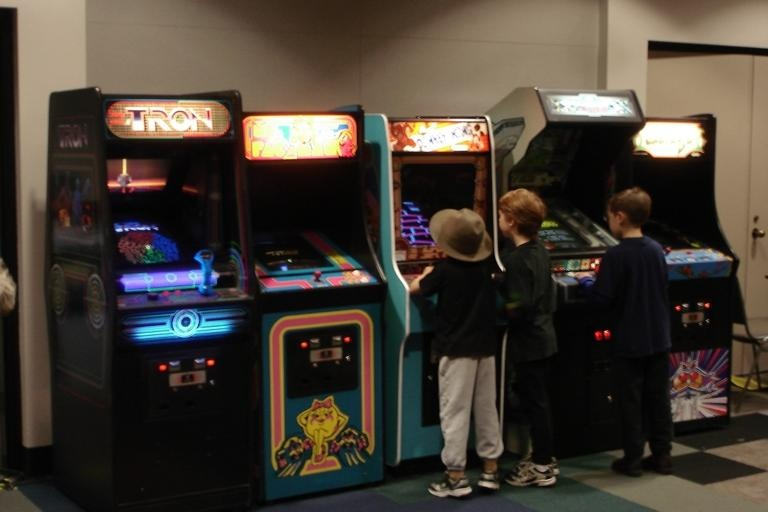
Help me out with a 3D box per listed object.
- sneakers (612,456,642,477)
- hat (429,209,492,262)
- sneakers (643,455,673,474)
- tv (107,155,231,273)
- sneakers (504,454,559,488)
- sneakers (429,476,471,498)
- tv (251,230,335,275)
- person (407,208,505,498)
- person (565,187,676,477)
[{"bbox_3d":[1.605,1.390,4.690,0.094,0.120,0.183,-11,20,-41],"label":"sneakers"},{"bbox_3d":[0.453,-0.133,4.315,0.368,0.288,0.205,6,12,20],"label":"hat"},{"bbox_3d":[1.828,1.388,4.726,0.090,0.099,0.212,-6,14,-26],"label":"sneakers"},{"bbox_3d":[-1.321,-0.273,4.469,0.823,0.774,0.640,0,-13,-15],"label":"tv"},{"bbox_3d":[0.964,1.413,4.602,0.365,0.159,0.145,0,1,2],"label":"sneakers"},{"bbox_3d":[0.413,1.445,4.434,0.283,0.137,0.119,0,3,29],"label":"sneakers"},{"bbox_3d":[-0.587,-0.037,4.504,0.480,0.197,0.332,-1,12,-12],"label":"tv"},{"bbox_3d":[0.460,0.598,4.412,0.625,1.769,0.505,2,11,2],"label":"person"},{"bbox_3d":[1.651,0.658,4.674,0.617,1.550,0.392,4,11,11],"label":"person"}]
